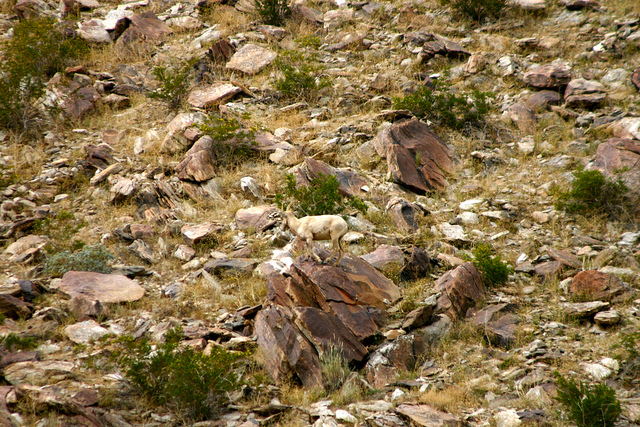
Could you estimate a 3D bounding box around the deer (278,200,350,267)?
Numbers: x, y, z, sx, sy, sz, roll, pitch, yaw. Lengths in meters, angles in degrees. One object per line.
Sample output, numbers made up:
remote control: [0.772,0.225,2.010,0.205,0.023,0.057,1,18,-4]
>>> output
deer: [-0.249,0.599,37.746,2.271,0.876,2.181,1,88,3]
